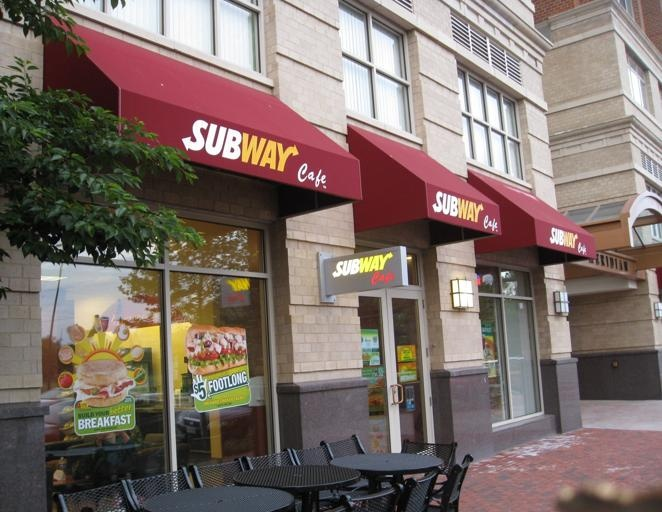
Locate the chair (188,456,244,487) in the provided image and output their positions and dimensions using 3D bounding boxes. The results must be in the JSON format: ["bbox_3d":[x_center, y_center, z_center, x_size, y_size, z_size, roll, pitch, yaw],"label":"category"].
[{"bbox_3d":[-1.119,2.117,5.701,0.389,0.498,0.386,4,-22,-34],"label":"chair"}]
